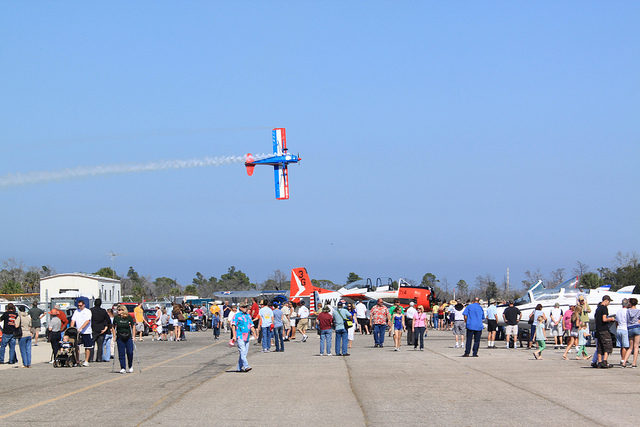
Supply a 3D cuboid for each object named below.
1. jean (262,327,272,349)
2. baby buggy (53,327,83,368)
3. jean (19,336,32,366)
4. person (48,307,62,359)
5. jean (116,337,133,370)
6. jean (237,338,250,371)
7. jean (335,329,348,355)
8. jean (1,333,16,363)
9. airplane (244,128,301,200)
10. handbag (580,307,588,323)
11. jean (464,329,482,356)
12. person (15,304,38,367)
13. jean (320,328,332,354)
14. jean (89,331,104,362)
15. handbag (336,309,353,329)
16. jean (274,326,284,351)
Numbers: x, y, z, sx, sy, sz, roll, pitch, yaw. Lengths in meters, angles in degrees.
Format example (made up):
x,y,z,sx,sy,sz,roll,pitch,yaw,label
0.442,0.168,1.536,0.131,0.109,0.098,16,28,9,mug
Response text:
x,y,z,sx,sy,sz,roll,pitch,yaw,label
-2.201,5.169,36.318,0.341,0.882,0.451,-2,-10,-4,jean
-9.155,4.793,31.611,0.749,1.322,0.960,0,4,21,baby buggy
-10.728,4.982,31.726,0.372,1.068,0.445,1,-11,-20,jean
-9.780,4.371,32.237,0.489,1.841,0.703,0,-11,-18,person
-6.646,4.748,29.788,0.501,1.058,0.673,0,-10,-14,jean
-2.622,4.788,29.776,0.408,1.088,0.761,-2,-10,-6,jean
0.845,5.075,34.631,0.554,0.974,0.440,-7,-11,23,jean
-11.595,4.990,32.507,0.500,1.095,1.122,1,-11,-20,jean
-2.752,-3.099,53.773,3.436,1.215,5.078,-3,-39,-4,airplane
9.884,3.828,32.684,0.314,0.569,0.429,0,-11,28,handbag
5.929,4.992,33.904,0.639,1.022,0.999,-4,-10,8,jean
-10.898,4.480,32.101,0.605,2.307,1.116,1,-11,-19,person
0.248,5.043,34.613,0.467,1.012,0.435,-4,-10,8,jean
-8.359,4.965,32.681,0.526,1.113,0.874,0,-10,-16,jean
1.042,4.202,34.959,0.336,0.771,0.908,-9,-12,31,handbag
-1.725,5.225,36.396,0.351,0.966,0.537,0,-10,-16,jean
